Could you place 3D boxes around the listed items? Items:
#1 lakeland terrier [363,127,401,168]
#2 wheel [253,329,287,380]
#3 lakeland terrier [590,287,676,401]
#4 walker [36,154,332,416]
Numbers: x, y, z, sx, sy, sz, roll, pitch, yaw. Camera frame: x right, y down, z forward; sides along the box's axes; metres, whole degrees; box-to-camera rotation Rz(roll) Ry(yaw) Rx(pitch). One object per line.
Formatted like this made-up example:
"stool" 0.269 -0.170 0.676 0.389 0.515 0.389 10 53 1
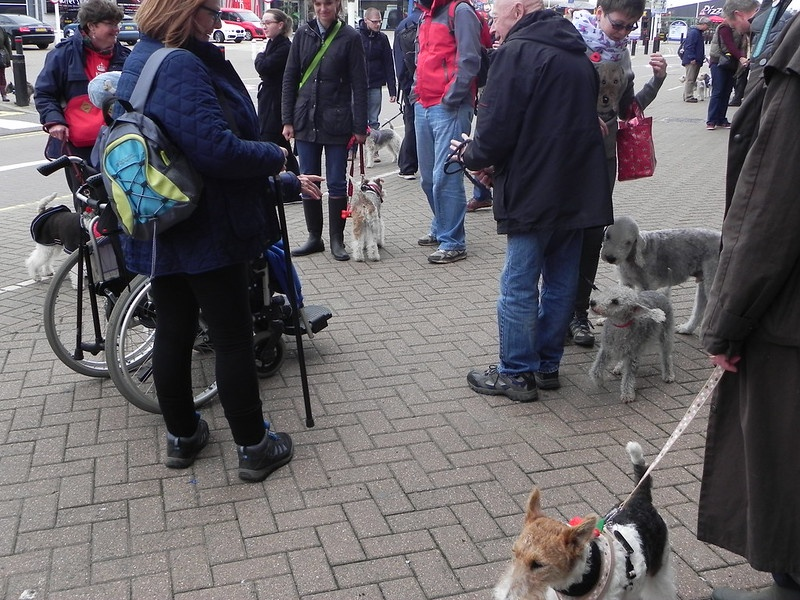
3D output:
"lakeland terrier" -0.312 -2.961 12.990 1.183 0.739 0.321 6 7 20
"wheel" -0.974 0.395 5.129 0.323 0.386 0.193 -3 20 9
"lakeland terrier" 1.665 0.260 4.882 1.014 0.711 0.479 -7 13 -43
"walker" -1.849 -0.172 5.105 2.387 1.745 0.885 -17 28 -35
